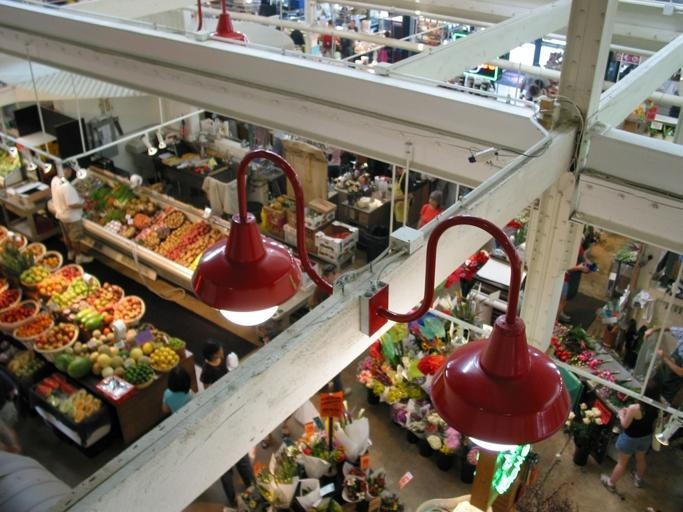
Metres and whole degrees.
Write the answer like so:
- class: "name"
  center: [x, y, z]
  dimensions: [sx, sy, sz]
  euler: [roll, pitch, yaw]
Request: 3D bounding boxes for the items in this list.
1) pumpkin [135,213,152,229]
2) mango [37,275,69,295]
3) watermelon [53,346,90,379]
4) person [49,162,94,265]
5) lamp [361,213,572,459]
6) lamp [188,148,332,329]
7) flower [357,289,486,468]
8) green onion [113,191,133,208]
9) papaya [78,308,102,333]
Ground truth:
- class: "pumpkin"
  center: [-3.246, -0.550, 8.576]
  dimensions: [0.195, 0.151, 0.259]
  euler: [-37, 31, -19]
- class: "mango"
  center: [-4.070, 0.411, 7.385]
  dimensions: [0.255, 0.129, 0.317]
  euler: [5, 33, 5]
- class: "watermelon"
  center: [-3.198, 1.277, 6.251]
  dimensions: [0.379, 0.184, 0.372]
  euler: [27, 13, 19]
- class: "person"
  center: [-4.452, -0.689, 8.715]
  dimensions: [0.595, 1.649, 0.618]
  euler: [-18, 31, -41]
- class: "lamp"
  center: [0.443, 0.207, 2.001]
  dimensions: [0.865, 0.819, 0.502]
  euler: [18, 37, 32]
- class: "lamp"
  center: [-0.297, -0.162, 2.504]
  dimensions: [0.770, 0.869, 0.576]
  euler: [-3, 22, -14]
- class: "flower"
  center: [1.033, 1.202, 5.851]
  dimensions: [0.925, 2.111, 1.143]
  euler: [-19, 30, -37]
- class: "green onion"
  center: [-3.684, -0.950, 8.814]
  dimensions: [0.132, 0.183, 0.331]
  euler: [13, 44, 28]
- class: "papaya"
  center: [-3.289, 0.838, 6.866]
  dimensions: [0.331, 0.183, 0.268]
  euler: [29, 41, 30]
